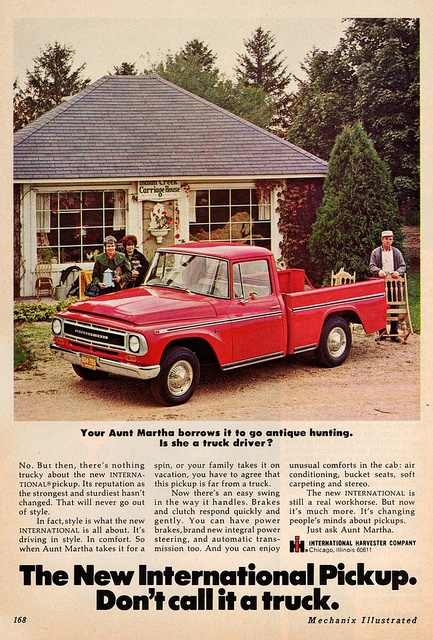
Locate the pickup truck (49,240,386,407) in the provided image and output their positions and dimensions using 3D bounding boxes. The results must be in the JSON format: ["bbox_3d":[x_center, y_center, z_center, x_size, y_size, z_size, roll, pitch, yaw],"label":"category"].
[{"bbox_3d":[0.097,-0.017,6.981,3.357,1.393,1.637,-6,5,-43],"label":"pickup truck"}]

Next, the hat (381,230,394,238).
[{"bbox_3d":[2.444,-1.237,9.099,0.196,0.066,0.216,-1,6,2],"label":"hat"}]

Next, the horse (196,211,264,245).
[{"bbox_3d":[0.283,-2.130,14.455,1.747,0.740,0.383,-2,8,-16],"label":"horse"}]

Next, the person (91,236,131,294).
[{"bbox_3d":[-1.364,-0.687,8.065,0.488,0.774,0.361,1,17,-2],"label":"person"}]
